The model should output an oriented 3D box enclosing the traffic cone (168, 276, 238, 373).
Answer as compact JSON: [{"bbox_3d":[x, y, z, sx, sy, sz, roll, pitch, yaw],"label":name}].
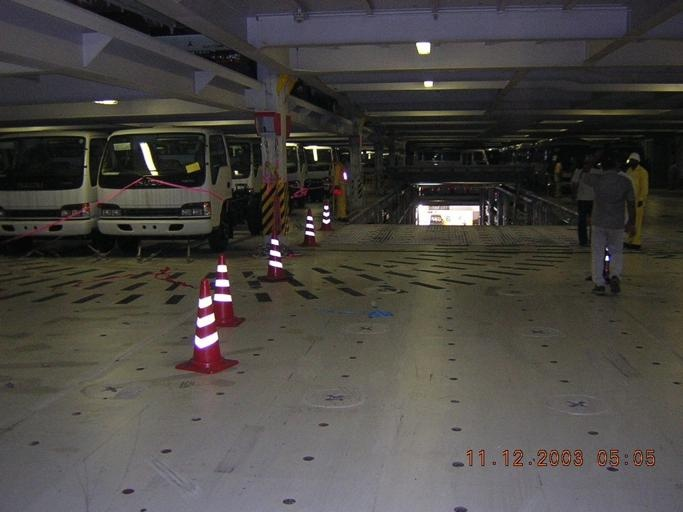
[{"bbox_3d":[-1.529,0.779,5.338,0.672,0.965,0.474,-3,10,-14],"label":"traffic cone"}]

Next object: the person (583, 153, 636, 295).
[{"bbox_3d":[4.704,-0.579,8.439,0.730,2.486,0.679,8,13,42],"label":"person"}]

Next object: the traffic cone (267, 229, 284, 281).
[{"bbox_3d":[-1.345,-0.006,9.762,0.376,1.005,0.651,-3,10,-9],"label":"traffic cone"}]

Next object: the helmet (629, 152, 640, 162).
[{"bbox_3d":[7.365,-2.476,12.087,0.260,0.197,0.346,1,17,14],"label":"helmet"}]
